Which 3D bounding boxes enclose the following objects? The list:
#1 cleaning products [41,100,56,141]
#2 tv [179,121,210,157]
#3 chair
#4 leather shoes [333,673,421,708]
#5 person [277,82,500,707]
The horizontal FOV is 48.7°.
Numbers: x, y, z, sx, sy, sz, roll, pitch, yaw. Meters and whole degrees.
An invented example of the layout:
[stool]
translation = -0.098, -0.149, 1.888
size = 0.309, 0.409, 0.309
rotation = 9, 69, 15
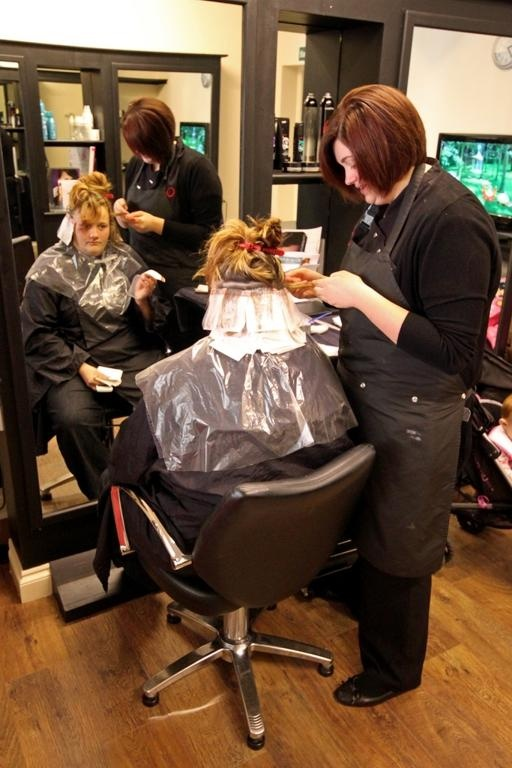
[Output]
[cleaning products]
translation = -0.499, -0.627, 1.349
size = 0.021, 0.083, 0.041
rotation = 5, 22, 13
[tv]
translation = -0.176, -0.697, 1.640
size = 0.104, 0.106, 0.063
rotation = -9, 25, -31
[chair]
translation = -0.044, 0.354, 1.140
size = 0.420, 0.549, 0.460
rotation = -9, 19, -35
[leather shoes]
translation = 0.287, 0.718, 1.352
size = 0.197, 0.061, 0.080
rotation = -3, 22, -1
[person]
translation = 0.264, 0.055, 1.190
size = 0.382, 1.210, 0.425
rotation = -1, 12, 6
